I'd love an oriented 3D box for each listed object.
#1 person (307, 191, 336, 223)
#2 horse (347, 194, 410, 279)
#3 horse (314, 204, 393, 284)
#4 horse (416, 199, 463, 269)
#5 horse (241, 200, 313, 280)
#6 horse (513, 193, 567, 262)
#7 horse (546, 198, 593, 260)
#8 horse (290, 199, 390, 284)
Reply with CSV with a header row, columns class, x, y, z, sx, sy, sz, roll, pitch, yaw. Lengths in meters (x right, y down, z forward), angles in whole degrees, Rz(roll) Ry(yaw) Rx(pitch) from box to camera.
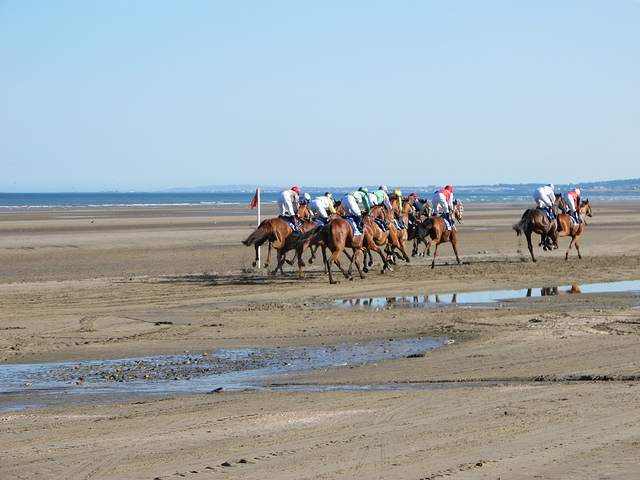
class,x,y,z,sx,sy,sz,roll,pitch,yaw
person,-0.038,-0.930,26.230,0.737,0.614,0.937,6,25,26
horse,1.886,-0.015,26.869,0.563,1.669,2.538,15,-13,-39
horse,0.886,0.178,25.044,1.128,1.904,3.158,2,10,26
horse,3.675,-0.039,27.900,1.421,1.567,0.743,-8,11,-34
horse,-1.155,-0.067,25.660,0.799,2.007,3.212,6,4,31
horse,7.111,-0.382,28.732,0.669,1.496,2.697,3,-10,-28
horse,8.086,-0.431,29.654,0.646,1.855,2.653,10,5,44
horse,0.638,0.105,24.819,3.629,2.034,0.701,-8,9,-42
